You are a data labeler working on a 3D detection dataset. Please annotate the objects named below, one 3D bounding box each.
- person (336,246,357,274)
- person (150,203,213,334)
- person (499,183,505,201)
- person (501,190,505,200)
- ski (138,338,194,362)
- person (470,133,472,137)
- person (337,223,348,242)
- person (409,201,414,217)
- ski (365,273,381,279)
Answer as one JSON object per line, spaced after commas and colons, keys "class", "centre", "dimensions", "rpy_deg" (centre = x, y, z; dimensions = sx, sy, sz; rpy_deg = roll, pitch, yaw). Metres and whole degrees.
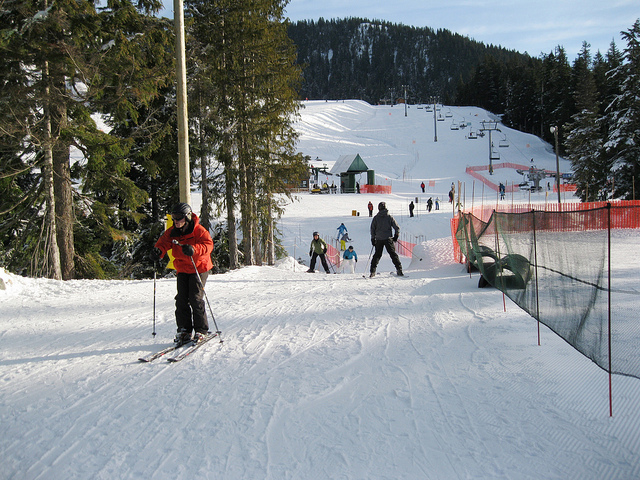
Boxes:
{"class": "person", "centre": [1.212, 0.961, 27.062], "dimensions": [0.839, 0.798, 1.990], "rpy_deg": [-6, -18, 1]}
{"class": "person", "centre": [-2.499, 0.573, 10.958], "dimensions": [0.998, 2.476, 0.619], "rpy_deg": [-1, 4, 16]}
{"class": "person", "centre": [16.568, -4.270, 53.879], "dimensions": [0.550, 2.171, 0.698], "rpy_deg": [3, -15, 9]}
{"class": "person", "centre": [16.220, -3.951, 52.515], "dimensions": [0.425, 0.920, 0.203], "rpy_deg": [1, -8, 40]}
{"class": "ski", "centre": [-2.746, 1.969, 10.651], "dimensions": [0.185, 0.137, 1.465], "rpy_deg": [9, 10, 23]}
{"class": "person", "centre": [23.972, -16.484, 93.798], "dimensions": [0.271, 0.659, 1.375], "rpy_deg": [-1, 5, 17]}
{"class": "person", "centre": [1.243, -0.346, 33.307], "dimensions": [0.786, 0.508, 1.518], "rpy_deg": [15, -28, 11]}
{"class": "person", "centre": [6.323, -2.052, 41.079], "dimensions": [0.235, 1.006, 1.416], "rpy_deg": [-2, 5, 8]}
{"class": "ski", "centre": [1.647, 1.136, 18.387], "dimensions": [0.212, 0.096, 1.427], "rpy_deg": [-2, 5, 16]}
